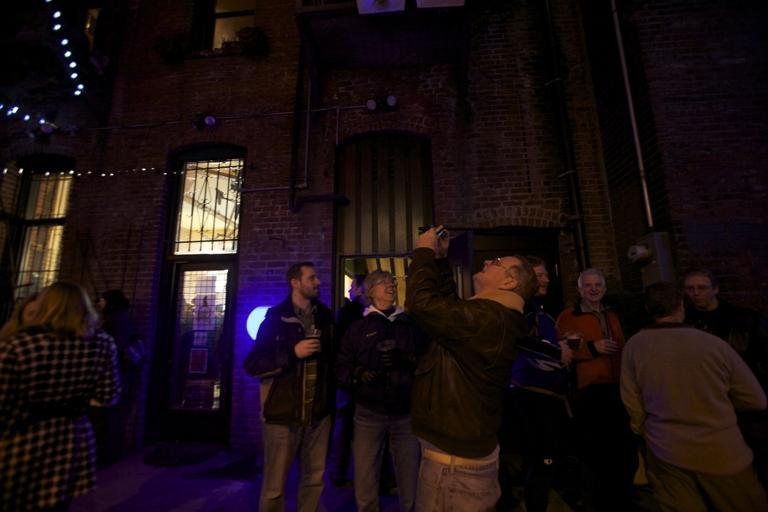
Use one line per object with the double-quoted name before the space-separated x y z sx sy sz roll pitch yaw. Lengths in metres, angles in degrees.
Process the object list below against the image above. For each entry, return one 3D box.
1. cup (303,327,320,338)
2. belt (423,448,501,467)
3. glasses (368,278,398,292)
"cup" -0.836 0.892 6.634 0.120 0.108 0.113 -1 -8 0
"belt" 0.725 1.923 5.438 0.724 0.181 0.107 -1 -7 2
"glasses" -0.048 0.337 6.693 0.175 0.122 0.222 -2 0 36
